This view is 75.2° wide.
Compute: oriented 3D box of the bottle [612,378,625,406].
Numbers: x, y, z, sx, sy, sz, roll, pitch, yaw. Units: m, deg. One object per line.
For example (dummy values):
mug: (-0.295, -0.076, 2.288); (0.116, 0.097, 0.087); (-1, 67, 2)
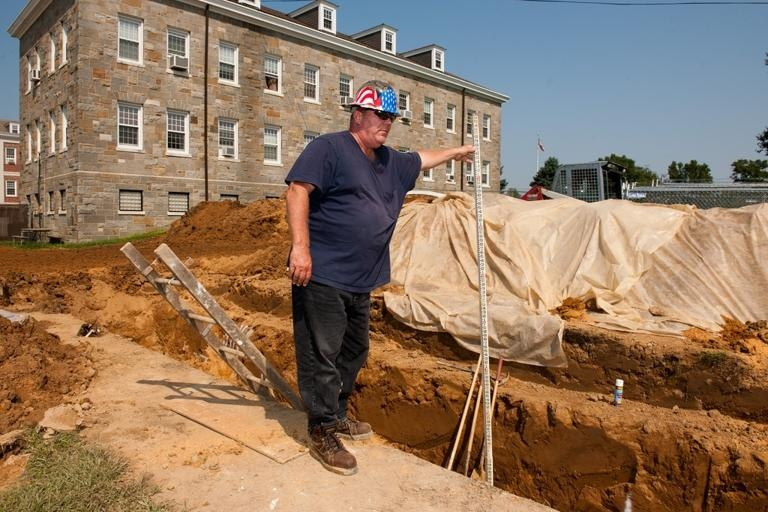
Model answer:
bottle: (3.021, 1.725, 6.426); (0.119, 0.316, 0.305); (4, 5, 26)

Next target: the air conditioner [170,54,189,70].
air conditioner: (-7.695, -7.308, 18.777); (0.684, 0.582, 0.438); (-1, 5, -29)

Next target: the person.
person: (-0.333, 0.153, 5.317); (1.428, 4.077, 0.632); (-2, 6, -37)

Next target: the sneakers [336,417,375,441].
sneakers: (-0.320, 1.957, 5.678); (0.409, 0.170, 0.215); (0, 4, 9)

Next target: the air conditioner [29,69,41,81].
air conditioner: (-14.320, -7.488, 20.497); (0.298, 0.518, 0.632); (-2, 6, -41)

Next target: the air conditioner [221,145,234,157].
air conditioner: (-6.287, -4.218, 20.143); (0.615, 0.472, 0.175); (-2, 7, -44)

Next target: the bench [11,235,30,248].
bench: (-14.051, -0.632, 19.294); (0.525, 0.253, 5.323); (-1, 5, -37)
